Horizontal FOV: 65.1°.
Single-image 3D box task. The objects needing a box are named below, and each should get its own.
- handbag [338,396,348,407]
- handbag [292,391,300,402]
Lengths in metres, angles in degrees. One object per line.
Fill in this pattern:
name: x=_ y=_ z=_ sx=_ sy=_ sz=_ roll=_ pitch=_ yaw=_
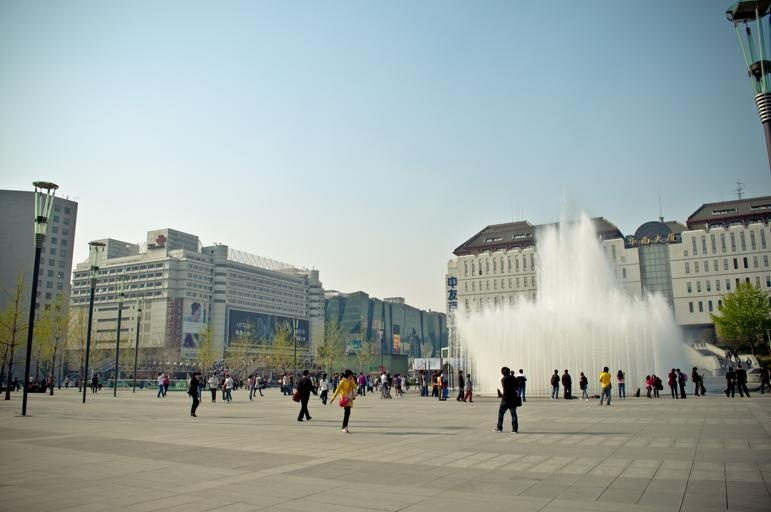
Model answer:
handbag: x=-1.551 y=5.242 z=21.755 sx=0.296 sy=0.375 sz=0.398 roll=6 pitch=-15 yaw=-26
handbag: x=-3.893 y=6.034 z=26.212 sx=0.294 sy=0.420 sz=0.648 roll=2 pitch=-13 yaw=-12
